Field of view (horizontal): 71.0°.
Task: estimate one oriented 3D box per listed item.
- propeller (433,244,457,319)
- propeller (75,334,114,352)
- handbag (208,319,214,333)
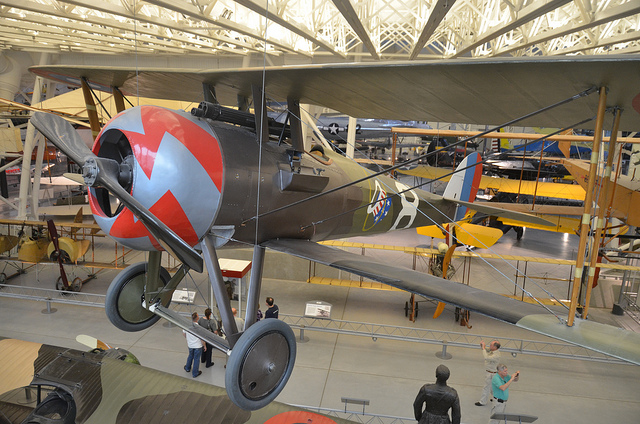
[{"bbox_3d":[3.493,2.007,12.648,0.390,2.019,1.045,6,2,15],"label":"propeller"},{"bbox_3d":[-4.740,2.876,9.843,1.126,0.285,0.086,29,13,-48],"label":"propeller"},{"bbox_3d":[-2.501,2.648,10.347,0.090,0.184,0.552,5,3,-17],"label":"handbag"}]
